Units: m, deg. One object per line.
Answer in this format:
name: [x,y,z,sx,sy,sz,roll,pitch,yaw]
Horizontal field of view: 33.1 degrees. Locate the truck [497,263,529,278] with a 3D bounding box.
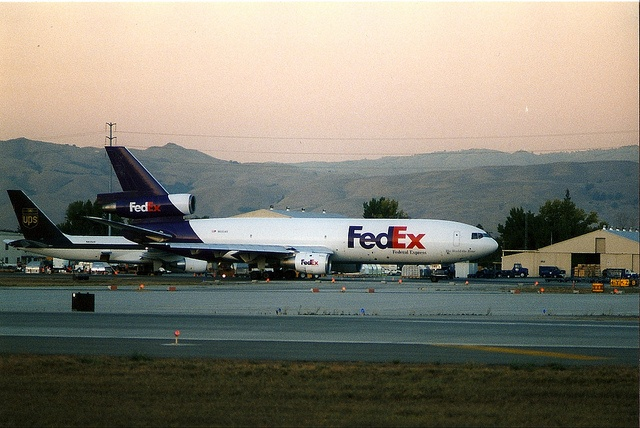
truck: [21.480,6.673,119.095,2.449,0.999,1.782,-2,1,-4]

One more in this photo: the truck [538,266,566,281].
truck: [24.243,6.445,113.004,2.583,1.188,1.772,-1,0,14]
